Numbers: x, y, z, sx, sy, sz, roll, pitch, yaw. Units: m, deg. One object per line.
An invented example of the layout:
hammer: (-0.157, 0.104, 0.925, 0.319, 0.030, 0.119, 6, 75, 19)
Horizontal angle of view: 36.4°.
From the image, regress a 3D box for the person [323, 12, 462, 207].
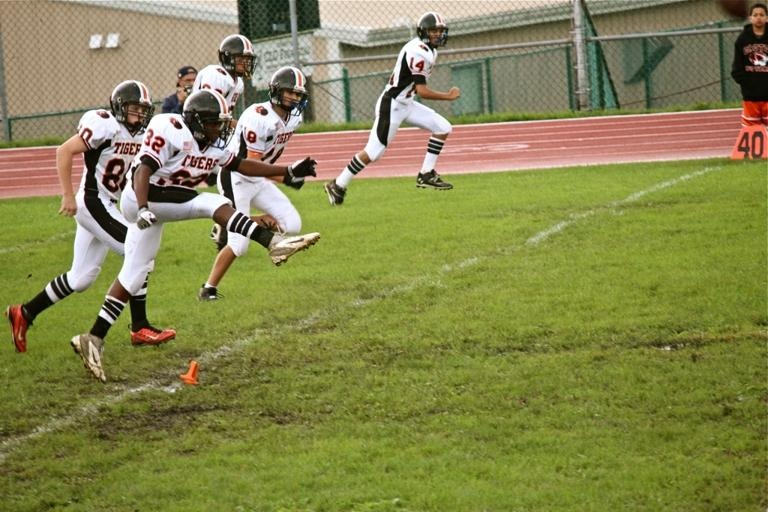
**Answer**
person: (0.195, -1.917, 14.444, 1.274, 2.176, 0.796, -2, 9, 3)

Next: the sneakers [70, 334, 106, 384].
sneakers: (-2.696, 0.970, 11.062, 0.290, 0.467, 0.229, -5, 9, -15)

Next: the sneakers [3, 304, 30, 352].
sneakers: (-3.480, 0.686, 11.489, 0.238, 0.496, 0.173, -8, 5, 10)

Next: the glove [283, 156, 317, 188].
glove: (-0.781, -0.881, 11.474, 0.307, 0.160, 0.315, -32, -11, 27)

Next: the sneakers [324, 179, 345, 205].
sneakers: (-0.535, -0.785, 14.382, 0.209, 0.413, 0.139, -18, -5, 3)

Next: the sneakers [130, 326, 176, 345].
sneakers: (-2.195, 0.780, 11.663, 0.465, 0.192, 0.175, -4, 24, 1)

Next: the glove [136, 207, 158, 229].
glove: (-2.147, -0.359, 10.977, 0.155, 0.196, 0.092, 6, 4, 4)
